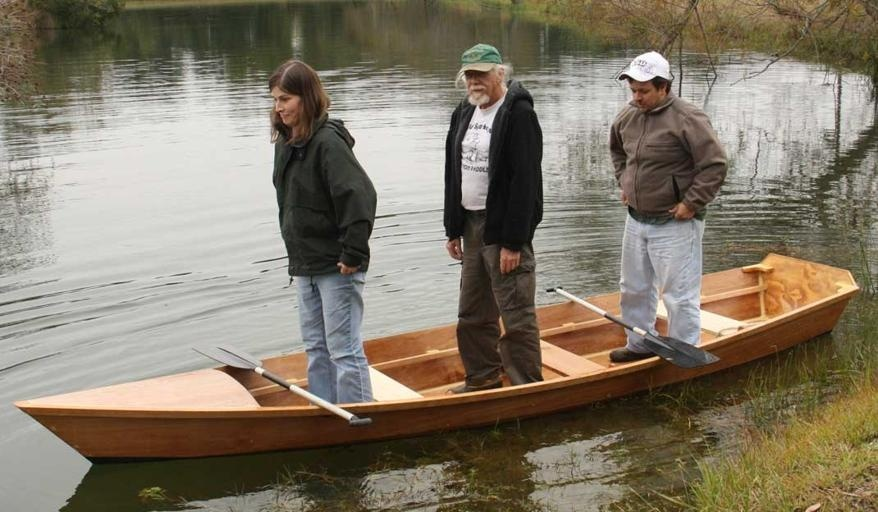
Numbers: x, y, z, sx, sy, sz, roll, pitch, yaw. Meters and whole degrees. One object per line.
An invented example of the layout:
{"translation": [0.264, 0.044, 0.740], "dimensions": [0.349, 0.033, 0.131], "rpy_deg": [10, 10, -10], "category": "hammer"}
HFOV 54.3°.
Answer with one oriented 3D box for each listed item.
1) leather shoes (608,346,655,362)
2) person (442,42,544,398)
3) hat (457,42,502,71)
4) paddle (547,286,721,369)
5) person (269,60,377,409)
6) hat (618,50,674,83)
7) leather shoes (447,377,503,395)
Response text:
{"translation": [2.250, 1.166, 10.024], "dimensions": [0.518, 0.192, 0.173], "rpy_deg": [1, 8, 9], "category": "leather shoes"}
{"translation": [0.576, -0.341, 9.223], "dimensions": [1.072, 3.740, 1.028], "rpy_deg": [-2, 19, 5], "category": "person"}
{"translation": [0.486, -2.092, 8.966], "dimensions": [0.347, 0.214, 0.453], "rpy_deg": [0, 4, 31], "category": "hat"}
{"translation": [2.075, 0.716, 9.958], "dimensions": [0.713, 0.137, 2.808], "rpy_deg": [-15, 21, -30], "category": "paddle"}
{"translation": [-1.145, -0.178, 8.751], "dimensions": [0.856, 3.544, 1.127], "rpy_deg": [-18, 24, -35], "category": "person"}
{"translation": [2.325, -2.086, 9.425], "dimensions": [0.547, 0.263, 0.365], "rpy_deg": [-9, 15, -28], "category": "hat"}
{"translation": [0.403, 1.461, 9.530], "dimensions": [0.630, 0.159, 0.210], "rpy_deg": [-3, 6, -1], "category": "leather shoes"}
